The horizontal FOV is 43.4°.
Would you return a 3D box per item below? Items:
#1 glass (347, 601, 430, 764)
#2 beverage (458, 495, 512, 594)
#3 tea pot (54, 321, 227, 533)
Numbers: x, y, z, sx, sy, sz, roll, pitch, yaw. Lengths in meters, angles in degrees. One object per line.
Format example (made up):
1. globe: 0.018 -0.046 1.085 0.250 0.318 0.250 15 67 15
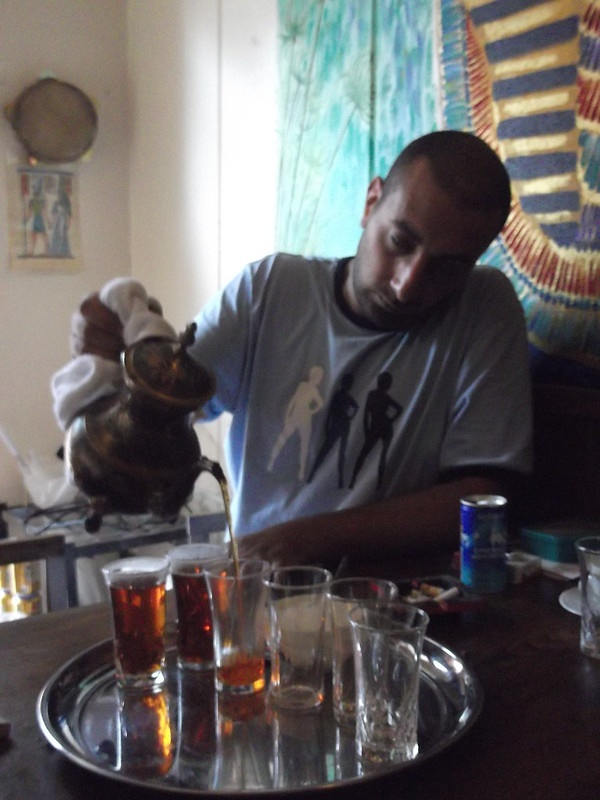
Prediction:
1. glass: 0.093 0.290 0.786 0.082 0.142 0.229 -2 8 4
2. beverage: 0.293 0.234 1.205 0.069 0.135 0.079 0 9 13
3. tea pot: -0.200 0.042 0.974 0.208 0.271 0.159 -4 9 -13
